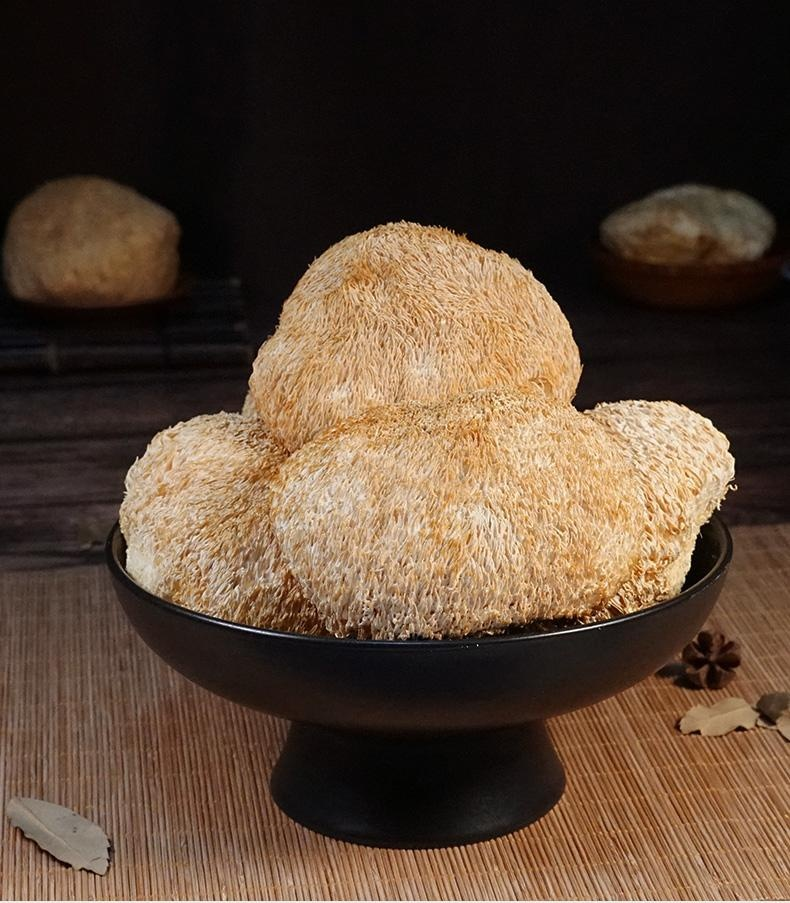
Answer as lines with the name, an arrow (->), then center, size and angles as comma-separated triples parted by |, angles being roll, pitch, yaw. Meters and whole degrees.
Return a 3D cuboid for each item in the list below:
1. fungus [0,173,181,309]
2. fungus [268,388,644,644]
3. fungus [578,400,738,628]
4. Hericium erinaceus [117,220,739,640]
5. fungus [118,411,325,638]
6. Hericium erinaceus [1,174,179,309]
fungus -> -0.348, -0.237, 1.152 | 0.202, 0.089, 0.166 | 1, 10, -4
fungus -> 0.032, 0.016, 0.529 | 0.154, 0.061, 0.166 | -1, 16, -3
fungus -> 0.168, 0.036, 0.623 | 0.114, 0.042, 0.127 | 4, 39, 7
Hericium erinaceus -> 0.009, -0.015, 0.515 | 0.295, 0.132, 0.315 | 1, 23, -1
fungus -> -0.112, 0.041, 0.606 | 0.136, 0.049, 0.121 | 4, 43, -3
Hericium erinaceus -> -0.341, -0.236, 1.136 | 0.201, 0.089, 0.166 | 1, 11, -5
